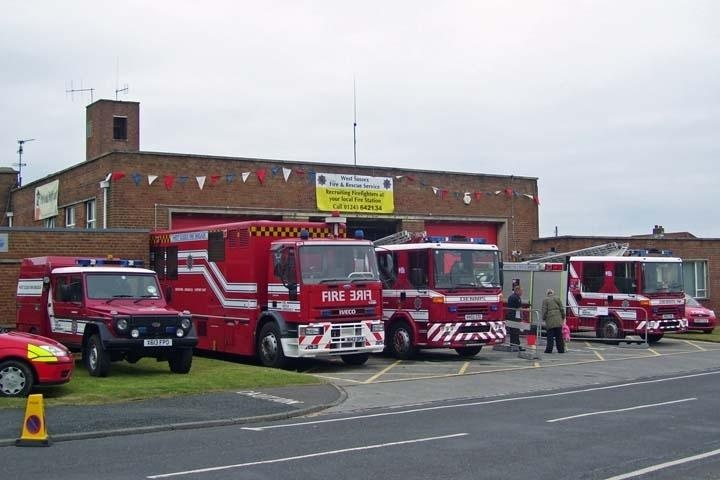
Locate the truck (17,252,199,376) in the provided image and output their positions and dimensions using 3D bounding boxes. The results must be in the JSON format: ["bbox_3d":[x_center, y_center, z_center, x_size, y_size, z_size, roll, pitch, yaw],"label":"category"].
[{"bbox_3d":[-6.961,2.058,23.214,3.261,3.356,7.441,0,-4,-36],"label":"truck"}]

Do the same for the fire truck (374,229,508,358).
[{"bbox_3d":[2.250,1.564,27.337,2.821,3.399,7.391,1,-2,-27],"label":"fire truck"}]

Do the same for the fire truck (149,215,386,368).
[{"bbox_3d":[-3.501,1.589,27.584,3.567,4.581,9.493,1,-3,-40],"label":"fire truck"}]

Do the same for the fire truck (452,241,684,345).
[{"bbox_3d":[9.352,2.222,35.294,3.022,3.287,8.203,-2,-1,-36],"label":"fire truck"}]

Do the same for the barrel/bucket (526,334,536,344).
[{"bbox_3d":[5.582,3.153,27.254,0.290,0.348,0.297,0,-3,0],"label":"barrel/bucket"}]

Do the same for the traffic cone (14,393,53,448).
[{"bbox_3d":[-6.372,3.547,16.489,0.628,1.011,0.326,-3,-3,13],"label":"traffic cone"}]
